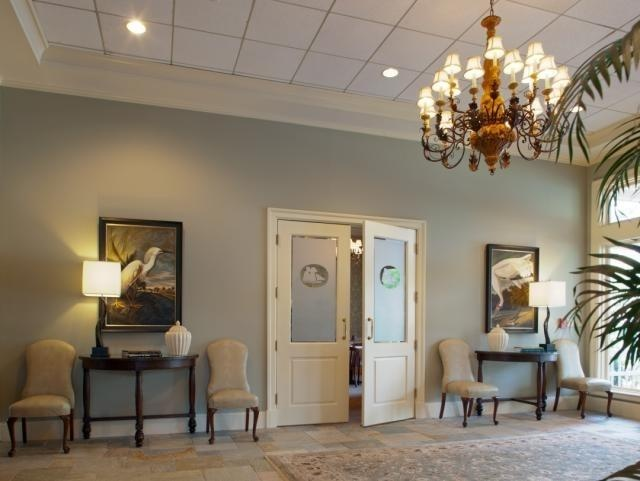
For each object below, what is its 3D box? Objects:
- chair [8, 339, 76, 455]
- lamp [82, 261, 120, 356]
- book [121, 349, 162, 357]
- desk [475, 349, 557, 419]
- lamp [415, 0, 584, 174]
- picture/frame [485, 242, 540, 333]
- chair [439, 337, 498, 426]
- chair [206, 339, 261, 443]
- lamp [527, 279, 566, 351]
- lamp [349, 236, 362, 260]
[{"bbox_3d":[-2.901,1.588,5.143,0.628,1.091,0.711,3,-6,-21],"label":"chair"},{"bbox_3d":[-2.399,0.735,5.418,0.419,1.019,0.389,3,-6,-26],"label":"lamp"},{"bbox_3d":[-1.973,1.231,5.463,0.393,0.053,0.401,4,-7,-24],"label":"book"},{"bbox_3d":[2.786,2.056,7.121,1.014,0.838,0.957,-1,-5,7],"label":"desk"},{"bbox_3d":[1.803,-1.398,5.244,1.324,1.754,2.556,-1,-6,19],"label":"lamp"},{"bbox_3d":[2.830,0.716,7.290,1.194,1.702,0.125,4,-9,-20],"label":"picture/frame"},{"bbox_3d":[2.005,1.871,6.655,0.611,1.060,0.656,3,-6,-20],"label":"chair"},{"bbox_3d":[-1.012,1.695,5.716,0.586,1.090,0.701,2,-6,-13],"label":"chair"},{"bbox_3d":[3.355,1.075,7.244,0.495,0.974,0.573,-2,-6,24],"label":"lamp"},{"bbox_3d":[0.845,0.110,10.770,0.378,0.486,0.375,1,-11,-12],"label":"lamp"}]
